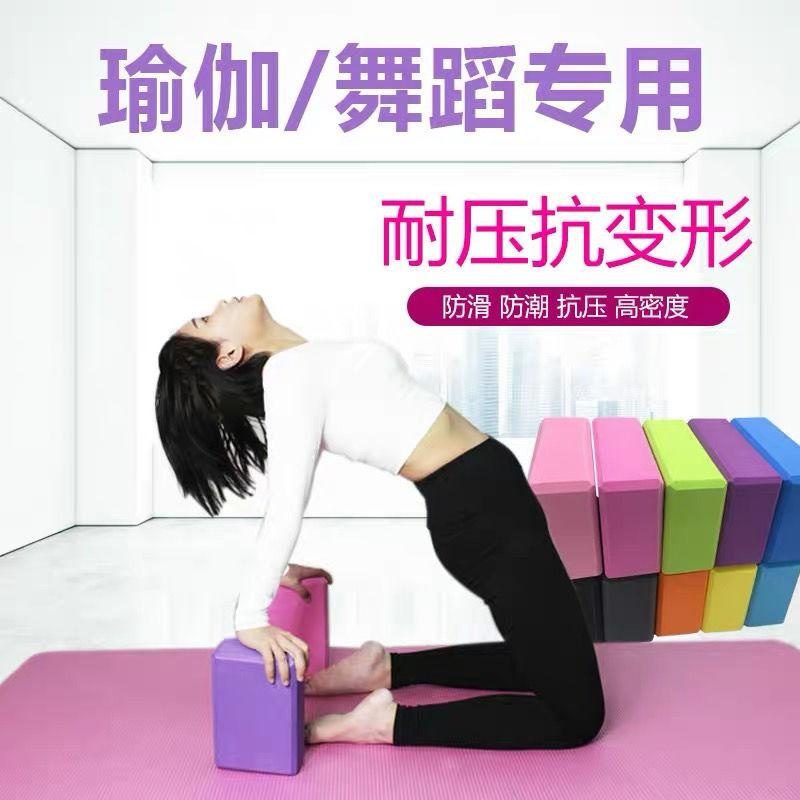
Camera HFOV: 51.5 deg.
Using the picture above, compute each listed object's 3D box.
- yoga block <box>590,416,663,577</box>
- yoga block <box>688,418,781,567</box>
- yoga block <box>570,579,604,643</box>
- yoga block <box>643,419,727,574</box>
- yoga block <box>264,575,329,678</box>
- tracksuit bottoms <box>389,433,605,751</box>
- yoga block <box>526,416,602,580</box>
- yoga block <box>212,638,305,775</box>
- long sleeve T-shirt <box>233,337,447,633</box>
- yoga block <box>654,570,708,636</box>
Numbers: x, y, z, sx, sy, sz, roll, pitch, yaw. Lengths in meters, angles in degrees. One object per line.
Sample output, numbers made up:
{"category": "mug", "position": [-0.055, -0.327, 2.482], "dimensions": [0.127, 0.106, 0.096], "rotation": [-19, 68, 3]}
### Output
{"category": "yoga block", "position": [0.720, 0.294, 2.673], "dimensions": [0.181, 0.339, 0.555], "rotation": [-4, 20, 11]}
{"category": "yoga block", "position": [1.024, 0.283, 2.654], "dimensions": [0.147, 0.350, 0.405], "rotation": [-4, 30, -3]}
{"category": "yoga block", "position": [0.599, 0.631, 2.577], "dimensions": [0.084, 0.223, 0.068], "rotation": [-12, -26, 37]}
{"category": "yoga block", "position": [0.828, 0.297, 2.666], "dimensions": [0.180, 0.311, 0.497], "rotation": [-4, 21, -7]}
{"category": "yoga block", "position": [-0.286, 0.621, 2.391], "dimensions": [0.164, 0.204, 0.207], "rotation": [3, -8, -10]}
{"category": "tracksuit bottoms", "position": [0.231, 0.541, 2.115], "dimensions": [0.570, 0.752, 0.481], "rotation": [-5, -29, 19]}
{"category": "yoga block", "position": [0.473, 0.294, 2.361], "dimensions": [0.129, 0.212, 0.439], "rotation": [-3, 16, 7]}
{"category": "yoga block", "position": [-0.313, 0.693, 1.916], "dimensions": [0.216, 0.275, 0.157], "rotation": [-1, -1, 7]}
{"category": "long sleeve T-shirt", "position": [-0.201, 0.116, 2.000], "dimensions": [0.384, 0.423, 0.880], "rotation": [-17, -4, -3]}
{"category": "yoga block", "position": [0.874, 0.622, 2.633], "dimensions": [0.157, 0.204, 0.158], "rotation": [-3, 12, -4]}
